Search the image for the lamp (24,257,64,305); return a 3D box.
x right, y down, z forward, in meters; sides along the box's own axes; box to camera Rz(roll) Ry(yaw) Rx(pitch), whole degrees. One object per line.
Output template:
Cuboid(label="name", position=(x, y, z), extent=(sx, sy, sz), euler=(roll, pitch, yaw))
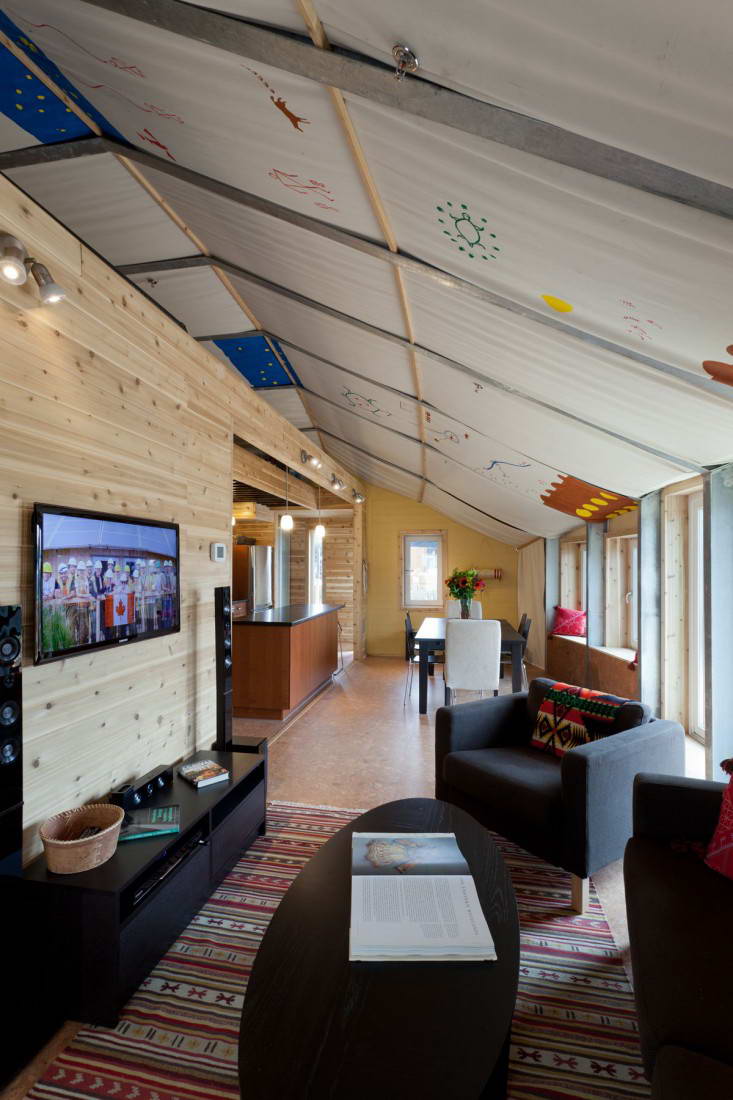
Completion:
Cuboid(label="lamp", position=(-1.013, -0.833, 2.413), extent=(0.096, 0.142, 0.203), euler=(-3, 7, -23))

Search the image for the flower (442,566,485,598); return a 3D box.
Cuboid(label="flower", position=(0.829, 0.288, 6.622), extent=(0.322, 0.344, 0.313), euler=(1, 1, -3))

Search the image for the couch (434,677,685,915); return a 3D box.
Cuboid(label="couch", position=(0.757, 0.893, 3.072), extent=(0.691, 0.694, 0.852), euler=(1, -1, -27))

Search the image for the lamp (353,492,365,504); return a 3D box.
Cuboid(label="lamp", position=(-0.096, -0.610, 9.134), extent=(0.154, 0.079, 0.214), euler=(14, 1, -6))

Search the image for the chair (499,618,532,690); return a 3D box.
Cuboid(label="chair", position=(1.269, 0.898, 6.615), extent=(0.224, 0.297, 0.784), euler=(-1, 2, 9))

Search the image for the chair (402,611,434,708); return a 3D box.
Cuboid(label="chair", position=(0.455, 0.910, 7.001), extent=(0.404, 0.723, 0.476), euler=(0, -1, 14))

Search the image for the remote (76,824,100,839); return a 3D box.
Cuboid(label="remote", position=(-0.867, 0.867, 2.397), extent=(0.061, 0.021, 0.088), euler=(4, 4, -2))
